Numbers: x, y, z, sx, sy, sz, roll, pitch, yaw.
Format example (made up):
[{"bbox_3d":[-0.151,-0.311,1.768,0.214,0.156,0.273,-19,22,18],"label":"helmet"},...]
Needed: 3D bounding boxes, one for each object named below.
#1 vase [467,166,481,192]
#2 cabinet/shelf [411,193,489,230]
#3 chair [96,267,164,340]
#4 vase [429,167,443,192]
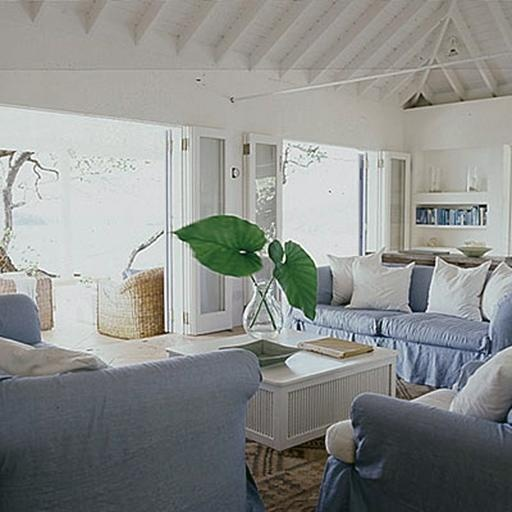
[{"bbox_3d":[3.104,-1.095,7.005,0.172,0.368,0.203,1,3,29],"label":"vase"},{"bbox_3d":[2.927,-0.684,7.242,0.335,0.529,1.117,-3,4,-44],"label":"cabinet/shelf"},{"bbox_3d":[-1.342,0.513,5.573,0.830,0.677,0.727,3,2,33],"label":"chair"},{"bbox_3d":[2.743,-1.172,7.521,0.181,0.390,0.259,1,3,18],"label":"vase"}]
